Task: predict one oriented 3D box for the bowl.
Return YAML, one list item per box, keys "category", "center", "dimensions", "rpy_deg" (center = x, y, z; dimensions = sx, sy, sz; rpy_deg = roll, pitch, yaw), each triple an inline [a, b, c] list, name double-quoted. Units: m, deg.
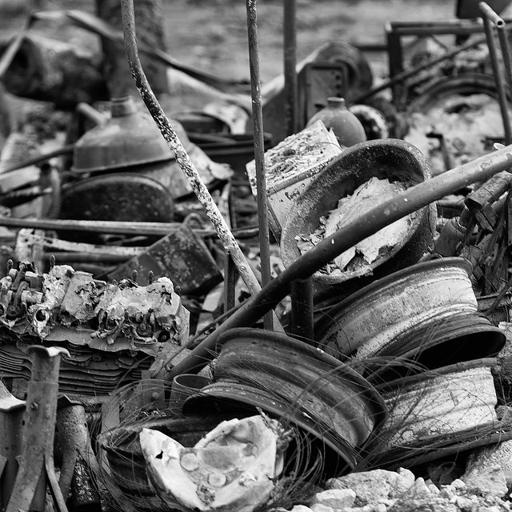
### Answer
- category: "bowl"
  center: [0.556, -0.236, 5.417]
  dimensions: [0.327, 0.830, 0.791]
  rpy_deg: [32, -46, -25]
